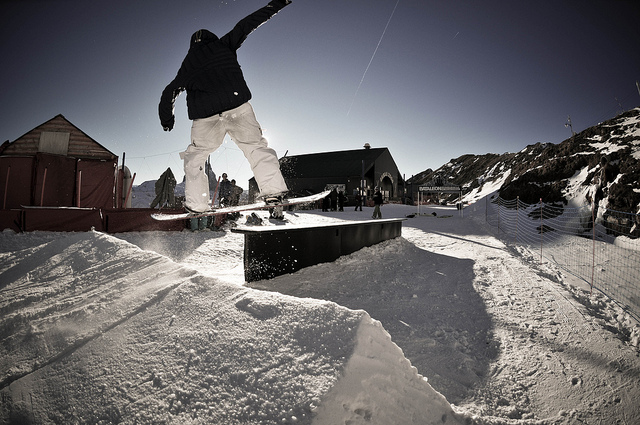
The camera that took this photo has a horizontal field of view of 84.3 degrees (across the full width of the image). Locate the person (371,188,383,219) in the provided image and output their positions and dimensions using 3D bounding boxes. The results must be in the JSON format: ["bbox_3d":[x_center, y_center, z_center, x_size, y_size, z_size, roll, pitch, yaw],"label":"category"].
[{"bbox_3d":[2.490,-0.384,15.619,0.386,1.186,2.250,3,6,8],"label":"person"}]

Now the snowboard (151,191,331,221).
[{"bbox_3d":[-2.269,-0.194,10.538,4.023,0.237,0.599,-15,10,-23],"label":"snowboard"}]

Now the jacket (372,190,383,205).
[{"bbox_3d":[2.432,-0.634,15.134,0.322,0.595,1.313,3,6,9],"label":"jacket"}]

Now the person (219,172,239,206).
[{"bbox_3d":[-4.093,-0.992,15.419,0.508,1.601,0.451,-11,-25,-5],"label":"person"}]
